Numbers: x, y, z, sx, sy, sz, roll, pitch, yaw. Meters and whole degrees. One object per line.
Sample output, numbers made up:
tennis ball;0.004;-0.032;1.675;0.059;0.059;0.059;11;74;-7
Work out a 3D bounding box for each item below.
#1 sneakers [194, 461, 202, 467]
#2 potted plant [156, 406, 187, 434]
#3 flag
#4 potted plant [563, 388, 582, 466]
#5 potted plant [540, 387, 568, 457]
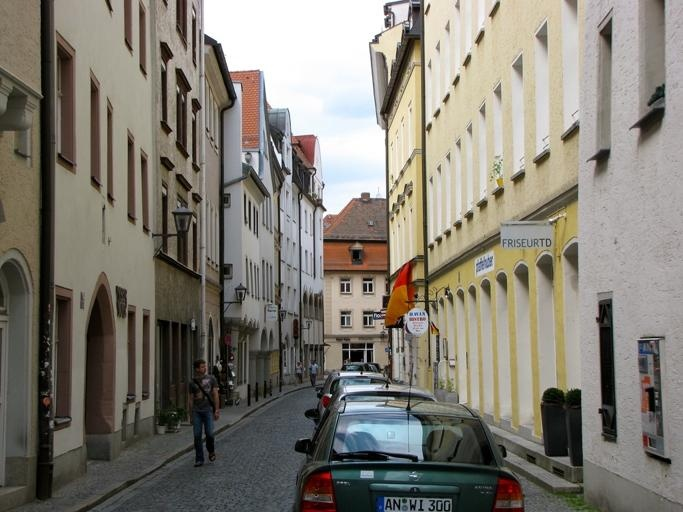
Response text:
sneakers;-2.933;4.261;15.277;0.160;0.076;0.232;-2;-7;0
potted plant;-5.123;4.814;21.954;0.575;0.883;0.756;-3;-7;37
flag;2.414;1.412;29.325;0.785;2.344;1.453;1;-6;-28
potted plant;3.908;2.846;12.403;0.245;1.195;0.691;-3;-6;17
potted plant;3.865;2.935;13.246;0.424;1.175;0.553;-1;-10;20
